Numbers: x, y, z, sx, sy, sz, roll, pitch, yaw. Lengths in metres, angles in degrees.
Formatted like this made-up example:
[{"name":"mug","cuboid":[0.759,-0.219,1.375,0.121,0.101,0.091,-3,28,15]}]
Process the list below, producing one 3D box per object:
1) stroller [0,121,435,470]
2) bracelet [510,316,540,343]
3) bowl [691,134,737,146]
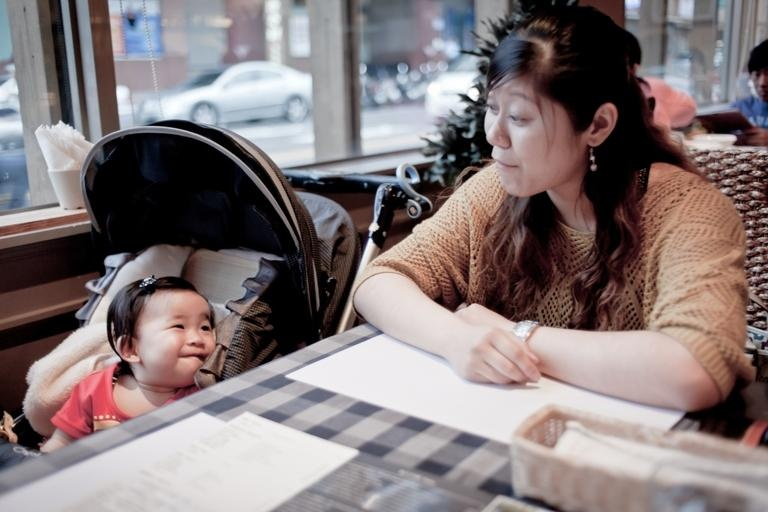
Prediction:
[{"name":"stroller","cuboid":[-0.472,-0.074,2.105,0.778,1.271,1.217,11,19,25]},{"name":"bracelet","cuboid":[0.307,0.157,1.236,0.033,0.056,0.055,22,-13,39]},{"name":"bowl","cuboid":[1.261,-0.442,2.155,0.115,0.040,0.113,-3,11,1]}]
